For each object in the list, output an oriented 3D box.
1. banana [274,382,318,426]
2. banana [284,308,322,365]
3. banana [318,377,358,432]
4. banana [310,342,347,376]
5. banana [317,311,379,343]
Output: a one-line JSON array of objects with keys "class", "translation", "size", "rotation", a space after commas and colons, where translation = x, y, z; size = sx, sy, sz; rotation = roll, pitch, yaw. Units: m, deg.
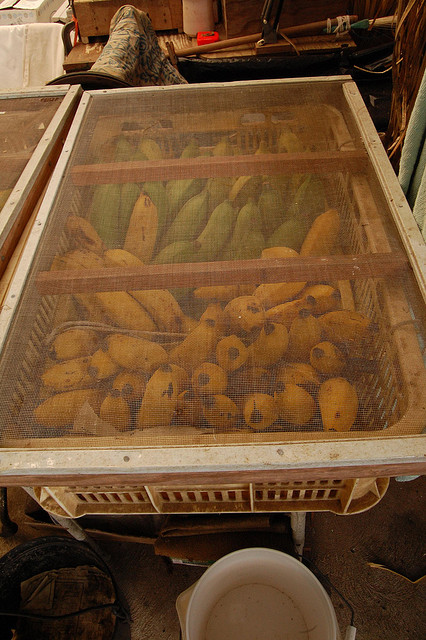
[{"class": "banana", "translation": [0.162, 0.172, 0.932], "size": [0.087, 0.030, 0.063], "rotation": [14, 47, 16]}, {"class": "banana", "translation": [0.191, 0.042, 1.033], "size": [0.059, 0.063, 0.108], "rotation": [16, 67, 3]}, {"class": "banana", "translation": [0.246, 0.167, 0.918], "size": [0.062, 0.056, 0.093], "rotation": [7, 76, 4]}, {"class": "banana", "translation": [0.237, 0.083, 0.974], "size": [0.068, 0.025, 0.072], "rotation": [-34, 52, -28]}, {"class": "banana", "translation": [0.288, 0.016, 1.014], "size": [0.100, 0.040, 0.064], "rotation": [1, 59, 5]}]
